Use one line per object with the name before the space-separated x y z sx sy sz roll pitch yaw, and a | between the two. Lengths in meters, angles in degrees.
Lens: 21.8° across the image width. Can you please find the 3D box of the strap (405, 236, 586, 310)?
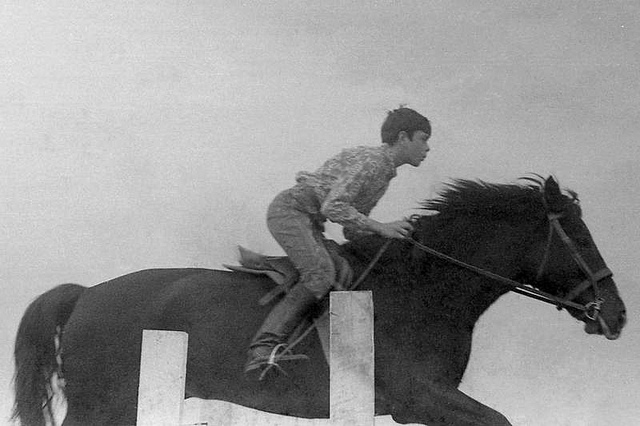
strap | 1.125 0.366 10.595 1.427 0.101 0.123 15 -22 21

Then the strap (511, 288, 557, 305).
strap | 1.367 0.525 10.704 0.259 0.032 0.036 22 -16 6
